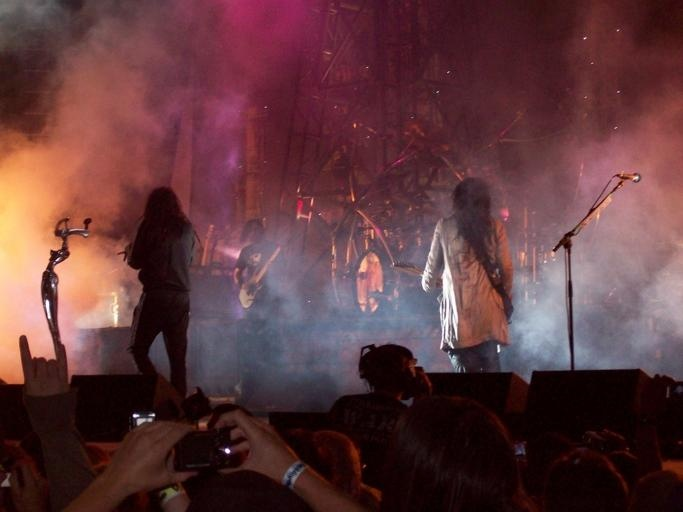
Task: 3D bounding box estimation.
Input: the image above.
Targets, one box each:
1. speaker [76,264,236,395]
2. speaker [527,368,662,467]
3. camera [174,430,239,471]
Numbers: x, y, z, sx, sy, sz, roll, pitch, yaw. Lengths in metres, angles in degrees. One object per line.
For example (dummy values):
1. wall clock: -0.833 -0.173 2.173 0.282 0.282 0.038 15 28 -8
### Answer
1. speaker: -2.033 0.945 8.260 2.270 1.537 1.341 -1 0 13
2. speaker: 1.713 1.177 4.930 0.735 0.525 0.716 -3 -1 20
3. camera: -0.699 0.988 3.707 0.322 0.214 0.083 0 -7 -11
